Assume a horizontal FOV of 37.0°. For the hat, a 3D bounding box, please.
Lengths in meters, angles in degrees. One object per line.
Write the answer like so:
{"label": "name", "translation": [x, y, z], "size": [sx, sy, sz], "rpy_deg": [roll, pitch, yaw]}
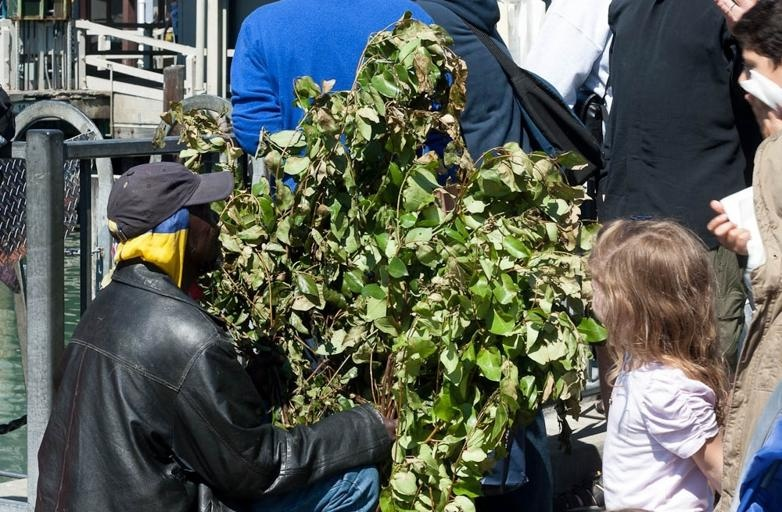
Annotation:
{"label": "hat", "translation": [-0.978, -0.298, 5.122], "size": [0.593, 0.229, 0.370], "rpy_deg": [-19, 31, -15]}
